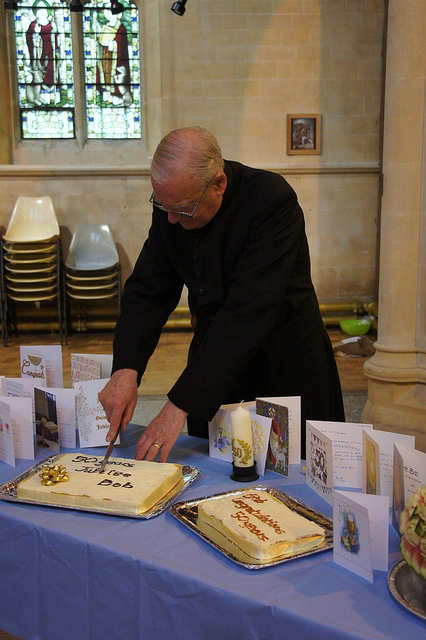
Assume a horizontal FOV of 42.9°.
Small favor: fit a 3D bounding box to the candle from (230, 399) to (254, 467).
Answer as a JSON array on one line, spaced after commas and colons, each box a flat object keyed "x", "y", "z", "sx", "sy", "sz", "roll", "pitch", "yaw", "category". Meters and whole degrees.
[{"x": 0.064, "y": 0.264, "z": 1.218, "sx": 0.049, "sy": 0.157, "sz": 0.046, "roll": -7, "pitch": 22, "yaw": -9, "category": "candle"}]

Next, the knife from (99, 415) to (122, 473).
[{"x": -0.243, "y": 0.301, "z": 1.290, "sx": 0.007, "sy": 0.015, "sz": 0.115, "roll": -4, "pitch": 40, "yaw": 24, "category": "knife"}]

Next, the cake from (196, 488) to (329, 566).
[{"x": 0.077, "y": 0.358, "z": 0.987, "sx": 0.195, "sy": 0.037, "sz": 0.271, "roll": -5, "pitch": 7, "yaw": -27, "category": "cake"}]

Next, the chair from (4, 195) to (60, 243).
[{"x": -2.022, "y": -1.149, "z": 6.037, "sx": 0.516, "sy": 0.481, "sz": 0.307, "roll": -4, "pitch": 8, "yaw": -17, "category": "chair"}]

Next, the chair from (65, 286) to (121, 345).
[{"x": -1.286, "y": -0.052, "z": 5.712, "sx": 0.656, "sy": 0.584, "sz": 0.494, "roll": -1, "pitch": 4, "yaw": -5, "category": "chair"}]
